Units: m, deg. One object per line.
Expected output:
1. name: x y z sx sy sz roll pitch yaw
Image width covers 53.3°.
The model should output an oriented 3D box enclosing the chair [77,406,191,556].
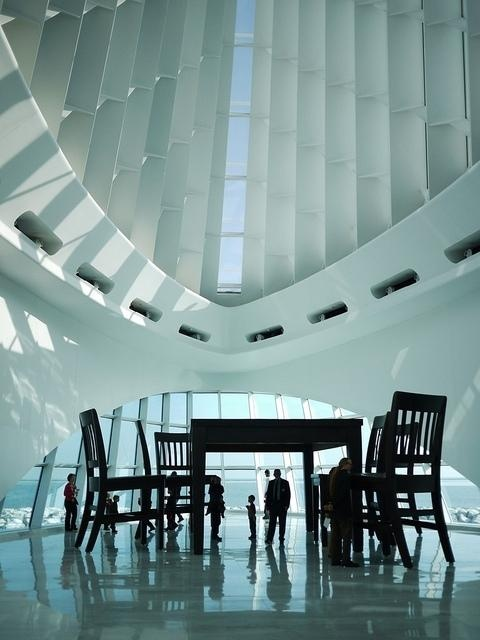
1. chair: -1.345 1.742 5.235 0.797 1.381 2.780 2 -14 -16

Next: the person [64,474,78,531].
1. person: -2.477 2.636 6.944 0.182 0.793 0.459 3 -12 -20

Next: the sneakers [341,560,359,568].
1. sneakers: 0.706 1.544 3.064 0.103 0.047 0.096 -5 -14 12
